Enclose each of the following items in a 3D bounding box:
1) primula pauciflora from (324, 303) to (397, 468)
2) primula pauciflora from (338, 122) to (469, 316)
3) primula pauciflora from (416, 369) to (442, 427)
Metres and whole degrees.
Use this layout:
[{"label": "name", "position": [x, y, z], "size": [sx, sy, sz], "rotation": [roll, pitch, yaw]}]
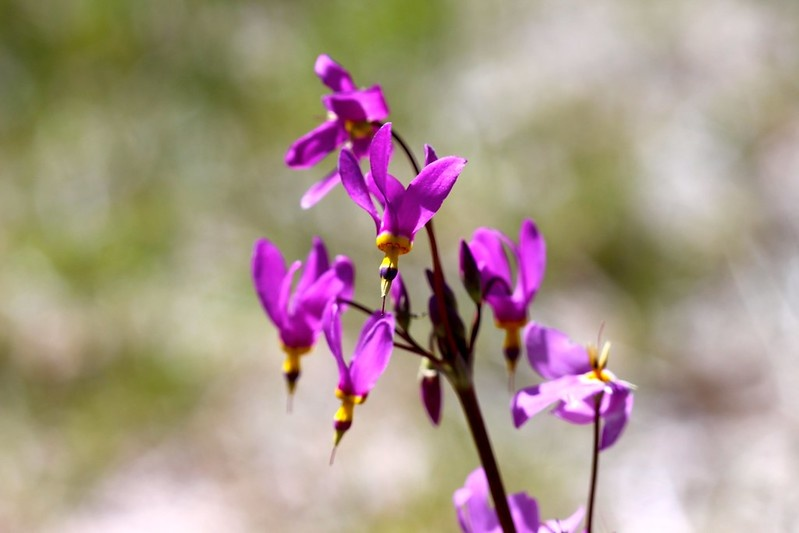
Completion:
[{"label": "primula pauciflora", "position": [-0.173, 0.450, 3.752], "size": [0.253, 0.565, 0.252], "rotation": [15, -7, -27]}, {"label": "primula pauciflora", "position": [-0.016, -0.193, 3.742], "size": [0.406, 0.653, 0.352], "rotation": [13, -7, -1]}, {"label": "primula pauciflora", "position": [0.120, 0.476, 3.788], "size": [0.091, 0.258, 0.069], "rotation": [-12, -31, 11]}]
